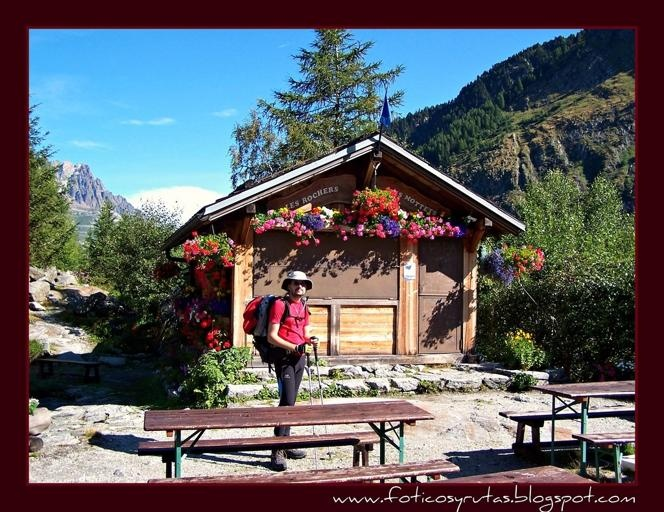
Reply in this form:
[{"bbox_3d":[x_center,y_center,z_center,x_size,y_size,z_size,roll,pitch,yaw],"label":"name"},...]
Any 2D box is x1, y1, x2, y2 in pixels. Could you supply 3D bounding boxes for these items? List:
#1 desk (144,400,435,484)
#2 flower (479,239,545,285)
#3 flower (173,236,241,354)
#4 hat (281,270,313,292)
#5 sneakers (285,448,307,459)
[{"bbox_3d":[-0.563,2.115,7.769,3.185,0.937,1.514,7,-8,-17],"label":"desk"},{"bbox_3d":[4.038,0.210,15.939,1.304,0.900,1.285,2,-7,-28],"label":"flower"},{"bbox_3d":[-2.709,0.794,14.169,1.592,2.481,1.132,3,-3,-9],"label":"flower"},{"bbox_3d":[-0.560,0.386,10.134,0.385,0.202,0.553,2,-15,-8],"label":"hat"},{"bbox_3d":[-0.508,2.756,9.204,0.329,0.155,0.125,0,2,-13],"label":"sneakers"}]
